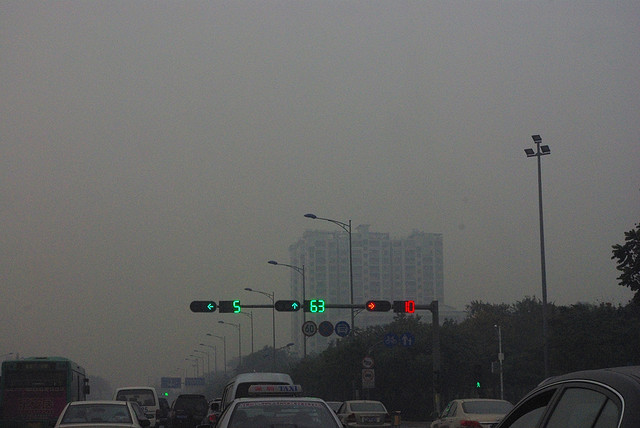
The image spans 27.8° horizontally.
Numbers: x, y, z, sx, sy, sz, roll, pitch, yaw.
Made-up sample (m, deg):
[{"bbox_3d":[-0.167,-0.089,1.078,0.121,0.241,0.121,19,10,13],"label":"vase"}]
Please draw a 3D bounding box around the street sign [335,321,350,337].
[{"bbox_3d":[1.645,8.454,95.600,0.929,1.167,0.242,1,3,-3],"label":"street sign"}]

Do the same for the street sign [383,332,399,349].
[{"bbox_3d":[5.556,9.752,99.939,1.280,1.588,0.562,-8,-23,8],"label":"street sign"}]

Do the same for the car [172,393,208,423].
[{"bbox_3d":[-8.586,12.845,85.937,1.451,1.693,2.755,2,-6,-7],"label":"car"}]

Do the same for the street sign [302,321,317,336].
[{"bbox_3d":[-0.758,8.205,93.120,0.867,1.077,0.217,1,2,1],"label":"street sign"}]
